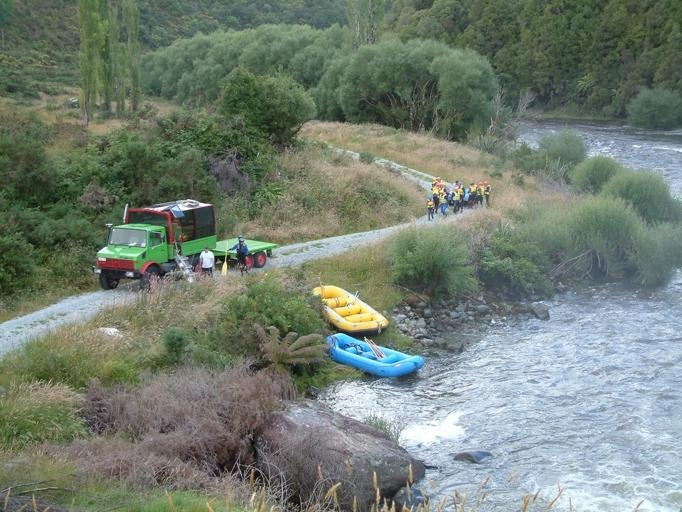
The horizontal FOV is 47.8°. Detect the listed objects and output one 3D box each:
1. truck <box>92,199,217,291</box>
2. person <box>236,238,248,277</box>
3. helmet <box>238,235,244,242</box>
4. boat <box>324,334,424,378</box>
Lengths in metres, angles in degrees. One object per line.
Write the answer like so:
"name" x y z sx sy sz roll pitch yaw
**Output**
"truck" -8.056 -0.449 34.270 2.676 3.856 5.712 5 10 26
"person" -4.535 -0.055 35.080 0.614 1.432 1.307 1 21 -10
"helmet" -4.579 -0.732 35.094 0.237 0.168 0.351 4 11 -17
"boat" 1.257 4.251 31.666 3.445 1.007 1.839 18 19 38
